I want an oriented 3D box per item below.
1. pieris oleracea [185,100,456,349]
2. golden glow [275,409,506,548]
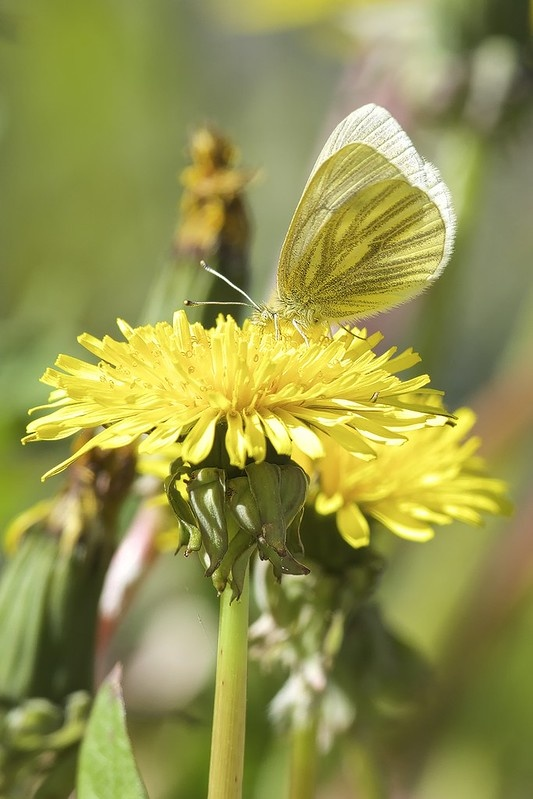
[{"bbox_3d":[0.049,-0.177,0.793,0.192,0.215,0.343,-5,92,-2],"label":"pieris oleracea"},{"bbox_3d":[0.133,0.065,0.764,0.173,0.069,0.162,7,13,3],"label":"golden glow"}]
